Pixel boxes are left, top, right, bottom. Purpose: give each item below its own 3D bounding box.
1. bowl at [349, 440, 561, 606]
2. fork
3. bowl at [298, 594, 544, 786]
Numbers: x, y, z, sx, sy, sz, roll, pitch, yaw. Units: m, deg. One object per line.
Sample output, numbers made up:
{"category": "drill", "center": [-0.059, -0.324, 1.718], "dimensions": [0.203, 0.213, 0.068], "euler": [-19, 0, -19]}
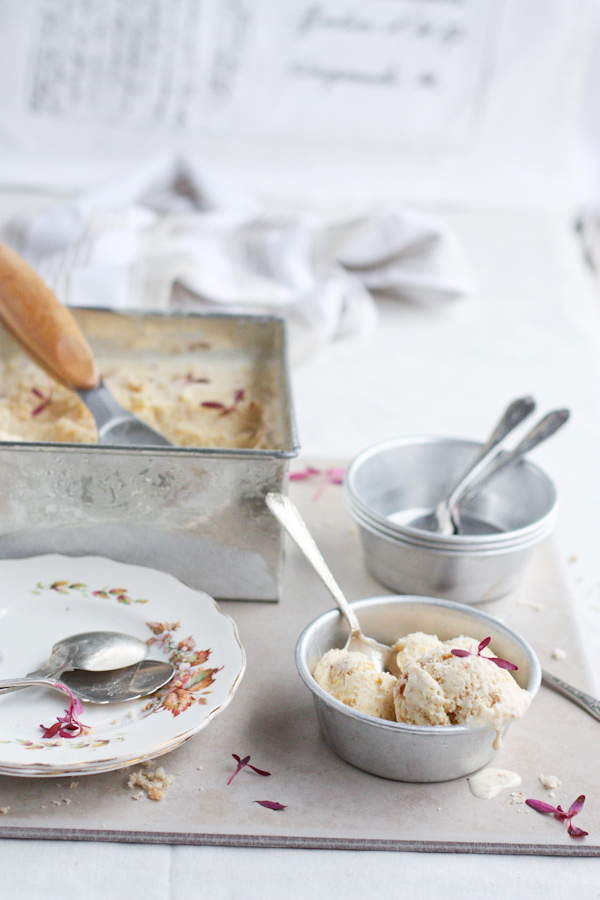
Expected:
{"category": "bowl", "center": [0.108, 0.061, 0.765], "dimensions": [0.162, 0.064, 0.151], "euler": [-1, 24, 1]}
{"category": "fork", "center": [0.141, 0.020, 0.797], "dimensions": [0.056, 0.169, 0.013], "euler": [43, 17, 8]}
{"category": "bowl", "center": [0.068, 0.145, 0.581], "dimensions": [0.149, 0.052, 0.138], "euler": [2, 21, -1]}
